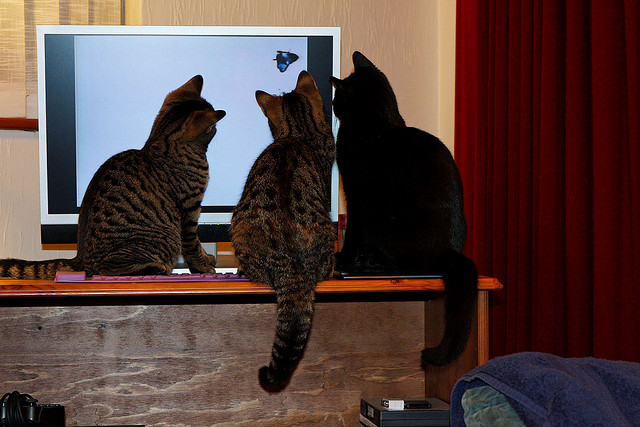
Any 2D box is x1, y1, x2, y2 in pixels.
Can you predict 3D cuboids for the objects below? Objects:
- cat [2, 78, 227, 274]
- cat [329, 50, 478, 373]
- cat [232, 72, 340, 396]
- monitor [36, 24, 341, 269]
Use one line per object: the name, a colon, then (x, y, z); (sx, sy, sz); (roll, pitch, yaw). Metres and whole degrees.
cat: (-0.701, -0.137, 2.862); (0.696, 0.712, 0.333); (0, 7, -1)
cat: (0.289, 0.015, 2.832); (0.499, 1.203, 0.420); (0, 6, 0)
cat: (-0.056, 0.054, 2.829); (0.303, 1.161, 0.509); (1, -9, 5)
monitor: (-0.479, -0.268, 2.975); (1.139, 0.898, 0.338); (-1, -1, -3)
